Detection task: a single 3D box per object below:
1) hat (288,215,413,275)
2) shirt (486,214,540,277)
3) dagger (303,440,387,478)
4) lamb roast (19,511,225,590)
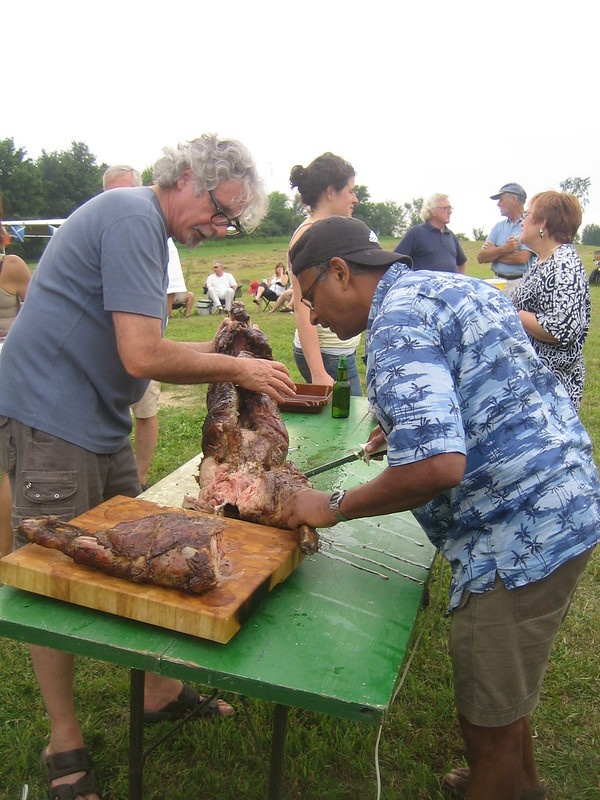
[{"bbox_3d":[0.151,-0.507,2.186,0.408,0.199,0.261,2,7,15],"label":"hat"},{"bbox_3d":[2.371,-1.783,7.485,0.571,0.560,0.311,0,-3,22],"label":"shirt"},{"bbox_3d":[0.209,0.278,3.135,0.464,0.086,0.073,-15,25,9],"label":"dagger"},{"bbox_3d":[-0.487,0.421,1.957,0.472,0.094,0.254,7,11,9],"label":"lamb roast"}]
